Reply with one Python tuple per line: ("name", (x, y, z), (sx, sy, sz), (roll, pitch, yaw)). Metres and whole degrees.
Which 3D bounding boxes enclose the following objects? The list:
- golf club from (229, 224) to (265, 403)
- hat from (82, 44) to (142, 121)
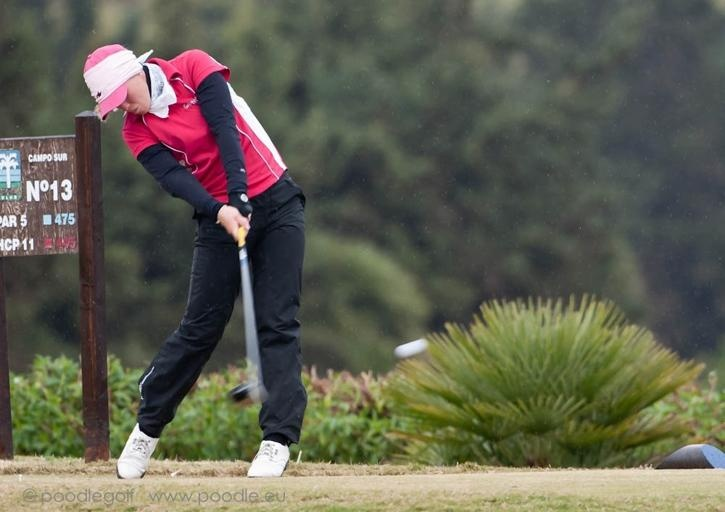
("golf club", (-0.942, 0.408, 13.359), (0.322, 1.382, 0.327), (-1, 20, -19))
("hat", (-1.888, -1.327, 13.232), (0.308, 0.612, 0.350), (-3, 1, 17))
